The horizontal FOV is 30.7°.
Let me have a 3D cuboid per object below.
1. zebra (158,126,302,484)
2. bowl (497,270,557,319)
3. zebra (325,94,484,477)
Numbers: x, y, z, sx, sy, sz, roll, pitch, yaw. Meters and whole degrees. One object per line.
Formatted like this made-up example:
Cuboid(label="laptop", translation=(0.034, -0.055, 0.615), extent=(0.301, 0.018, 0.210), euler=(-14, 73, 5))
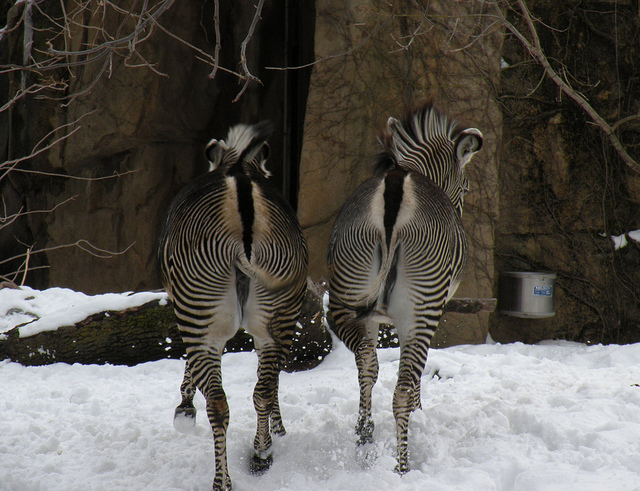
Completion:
Cuboid(label="zebra", translation=(-1.067, 0.841, 14.765), extent=(1.605, 3.912, 1.118), euler=(-10, 15, -34))
Cuboid(label="bowl", translation=(3.288, 0.691, 18.796), extent=(0.863, 0.816, 0.942), euler=(1, 12, 0))
Cuboid(label="zebra", translation=(1.073, 0.441, 15.018), extent=(1.922, 4.375, 1.301), euler=(-12, 16, -40))
